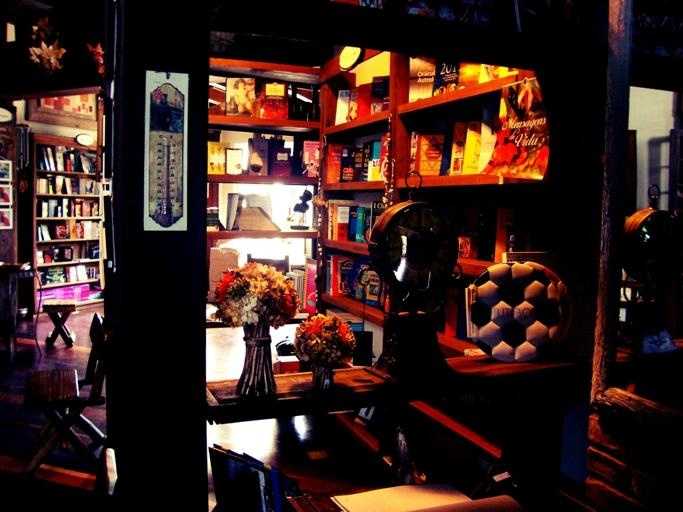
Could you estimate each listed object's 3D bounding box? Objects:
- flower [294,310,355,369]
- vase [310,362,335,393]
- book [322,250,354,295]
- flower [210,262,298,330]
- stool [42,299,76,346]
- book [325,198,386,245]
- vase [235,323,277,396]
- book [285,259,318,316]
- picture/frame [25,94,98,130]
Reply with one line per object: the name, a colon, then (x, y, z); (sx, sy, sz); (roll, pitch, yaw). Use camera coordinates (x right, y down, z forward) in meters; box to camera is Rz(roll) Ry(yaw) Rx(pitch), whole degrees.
flower: (-0.064, 0.411, 2.934); (0.269, 0.282, 0.277); (0, -2, 24)
vase: (-0.101, 0.609, 2.867); (0.125, 0.140, 0.126); (1, -5, -11)
book: (-0.040, 0.156, 5.026); (0.391, 0.382, 0.225); (1, 0, -39)
flower: (-0.442, 0.218, 2.931); (0.427, 0.365, 0.422); (7, 7, 5)
stool: (-3.362, 0.821, 6.750); (0.367, 0.506, 0.378); (1, 1, -32)
book: (0.108, -0.273, 4.567); (0.205, 0.382, 0.390); (15, -7, -43)
vase: (-0.431, 0.502, 2.809); (0.194, 0.362, 0.129); (-1, 2, -6)
book: (-0.331, 0.272, 4.805); (0.277, 0.489, 0.514); (1, -1, -25)
picture/frame: (-4.344, -2.274, 8.812); (0.084, 0.632, 1.322); (0, 2, 19)
